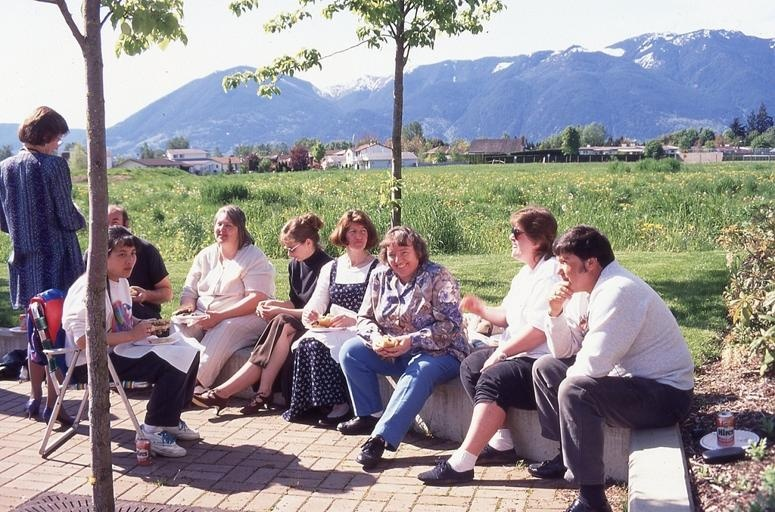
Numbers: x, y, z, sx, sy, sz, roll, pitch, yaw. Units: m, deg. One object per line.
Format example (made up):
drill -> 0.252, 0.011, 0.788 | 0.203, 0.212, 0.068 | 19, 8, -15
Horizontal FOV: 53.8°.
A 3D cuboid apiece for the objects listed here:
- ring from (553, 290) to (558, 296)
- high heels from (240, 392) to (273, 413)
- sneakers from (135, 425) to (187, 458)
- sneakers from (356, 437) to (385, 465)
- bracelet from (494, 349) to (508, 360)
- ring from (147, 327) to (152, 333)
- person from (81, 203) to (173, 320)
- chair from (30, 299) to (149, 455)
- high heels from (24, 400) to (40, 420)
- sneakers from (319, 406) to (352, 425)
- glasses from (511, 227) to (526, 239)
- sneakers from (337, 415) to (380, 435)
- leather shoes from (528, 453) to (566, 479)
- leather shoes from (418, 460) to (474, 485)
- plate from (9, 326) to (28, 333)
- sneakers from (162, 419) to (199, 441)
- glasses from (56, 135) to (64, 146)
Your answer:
ring -> 1.446, 0.323, 6.581 | 0.054, 0.021, 0.062 | 20, 19, 9
high heels -> -1.398, 1.576, 8.177 | 0.152, 0.176, 0.382 | -4, -7, 42
sneakers -> -2.177, 1.777, 7.309 | 0.468, 0.216, 0.176 | 12, 5, 21
sneakers -> -0.153, 1.767, 7.034 | 0.158, 0.198, 0.458 | 17, 11, 17
bracelet -> 1.039, 0.911, 6.992 | 0.073, 0.053, 0.102 | -14, 26, 10
ring -> -2.293, 0.703, 7.259 | 0.046, 0.047, 0.013 | -1, -6, -16
person -> -2.896, 0.150, 8.706 | 0.765, 1.234, 0.664 | -2, 13, 30
chair -> -2.971, 1.130, 7.574 | 1.095, 1.433, 0.950 | 0, 11, -5
high heels -> -3.762, 1.613, 8.016 | 0.096, 0.134, 0.286 | -1, 3, -27
sneakers -> -0.534, 1.628, 7.850 | 0.405, 0.174, 0.146 | -1, -1, -41
glasses -> 1.235, -0.205, 7.228 | 0.093, 0.042, 0.093 | 16, 3, -14
sneakers -> -0.308, 1.685, 7.684 | 0.464, 0.206, 0.160 | 4, 1, -14
leather shoes -> 1.432, 1.859, 6.802 | 0.381, 0.159, 0.149 | 1, -3, 0
leather shoes -> 0.503, 1.920, 6.801 | 0.497, 0.206, 0.194 | 2, -5, -4
plate -> -4.634, 0.926, 9.551 | 0.237, 0.059, 0.244 | 1, 0, 6
sneakers -> -2.058, 1.709, 7.556 | 0.375, 0.165, 0.135 | 11, 10, -24
glasses -> -3.592, -1.223, 8.293 | 0.093, 0.029, 0.095 | 32, 34, 12
